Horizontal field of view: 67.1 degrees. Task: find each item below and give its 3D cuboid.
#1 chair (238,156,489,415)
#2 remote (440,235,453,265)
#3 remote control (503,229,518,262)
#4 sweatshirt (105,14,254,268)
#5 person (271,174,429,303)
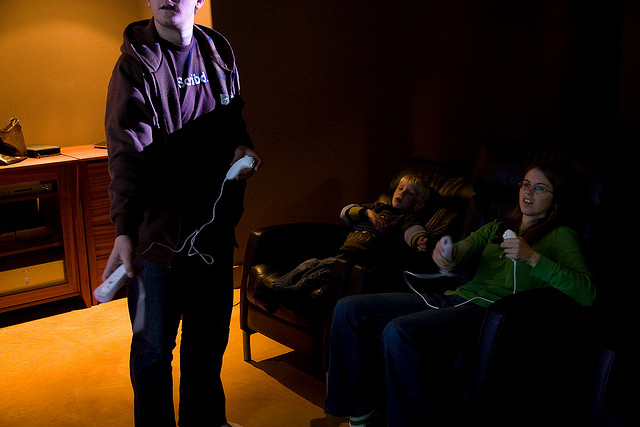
[{"bbox_3d":[0.170,0.348,3.026,1.223,1.056,0.979,-2,18,-39],"label":"chair"},{"bbox_3d":[0.616,0.170,2.347,0.038,0.104,0.080,-6,6,8],"label":"remote"},{"bbox_3d":[0.867,0.152,2.190,0.059,0.164,0.154,3,6,24],"label":"remote control"},{"bbox_3d":[-0.621,-0.179,1.922,0.451,1.082,0.456,24,28,37],"label":"sweatshirt"},{"bbox_3d":[0.196,0.152,2.769,0.864,0.366,0.682,-17,30,-24],"label":"person"}]
